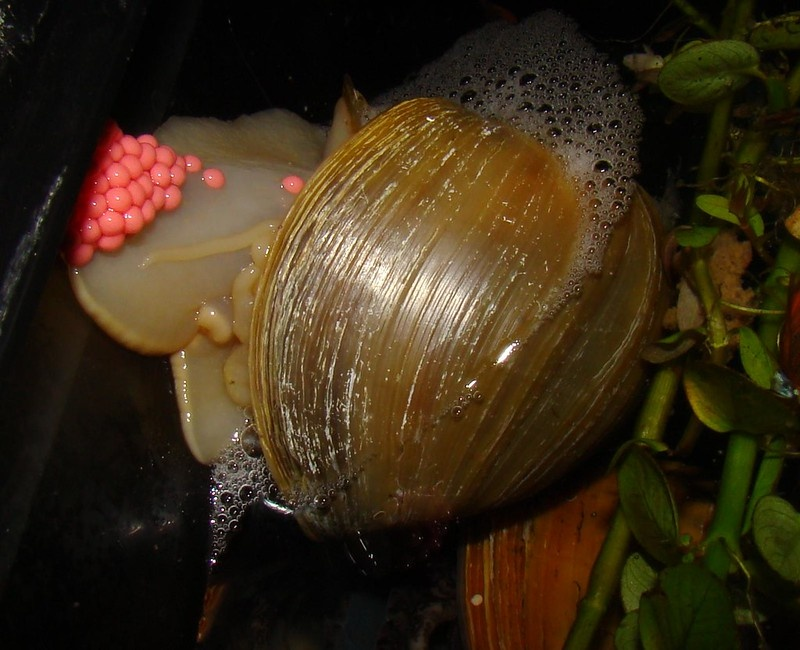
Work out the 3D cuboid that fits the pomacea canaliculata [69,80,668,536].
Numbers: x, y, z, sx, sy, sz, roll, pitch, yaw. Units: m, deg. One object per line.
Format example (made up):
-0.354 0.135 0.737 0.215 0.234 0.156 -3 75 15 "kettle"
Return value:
0.043 0.019 0.823 0.373 0.188 0.413 18 80 -1 "pomacea canaliculata"
